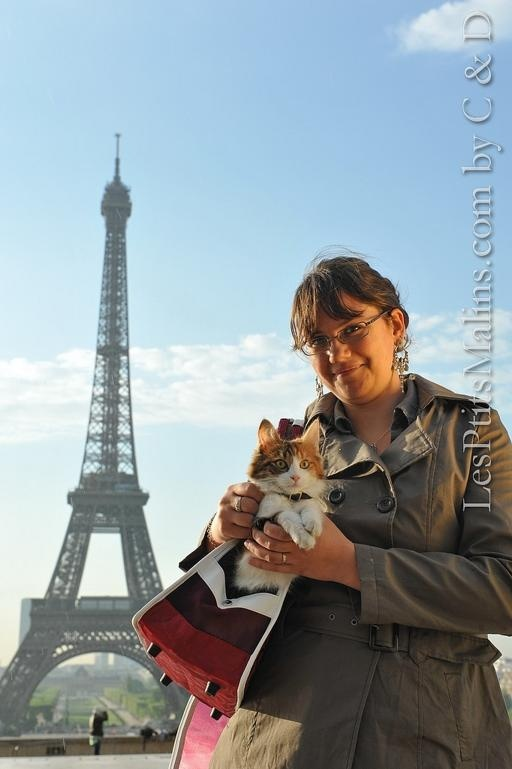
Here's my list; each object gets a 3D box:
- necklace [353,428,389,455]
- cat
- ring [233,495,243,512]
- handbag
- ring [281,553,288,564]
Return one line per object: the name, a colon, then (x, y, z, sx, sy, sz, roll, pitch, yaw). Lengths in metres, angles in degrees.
necklace: (0.391, 0.191, 2.538, 0.092, 0.043, 0.069, 21, 25, 41)
cat: (0.078, 0.359, 2.608, 0.266, 0.441, 0.720, -3, -7, -11)
ring: (-0.059, 0.373, 2.344, 0.036, 0.037, 0.040, -4, -9, -15)
handbag: (-0.006, 0.629, 2.297, 0.368, 0.606, 0.412, 30, 13, 26)
ring: (0.079, 0.496, 2.137, 0.021, 0.024, 0.010, 0, -3, -1)
